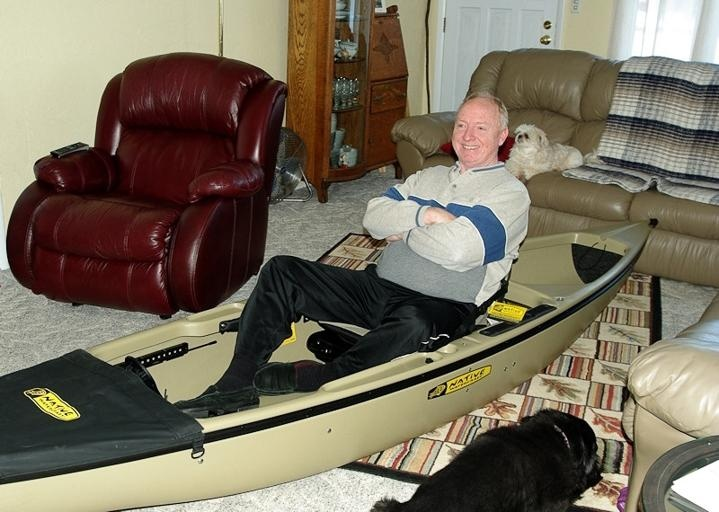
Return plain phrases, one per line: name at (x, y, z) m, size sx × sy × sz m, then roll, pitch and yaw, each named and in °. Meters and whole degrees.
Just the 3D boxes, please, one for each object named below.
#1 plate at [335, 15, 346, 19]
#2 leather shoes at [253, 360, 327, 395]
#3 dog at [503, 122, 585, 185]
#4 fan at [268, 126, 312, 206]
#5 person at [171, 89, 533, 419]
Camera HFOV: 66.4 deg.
plate at (-0.154, -1.965, 4.530) m, size 0.026 × 0.036 × 0.122 m, roll 13°, pitch 25°, yaw 21°
leather shoes at (-0.258, 0.432, 1.945) m, size 0.272 × 0.085 × 0.086 m, roll -4°, pitch -10°, yaw -12°
dog at (1.245, -0.756, 3.937) m, size 0.666 × 0.345 × 0.412 m, roll -7°, pitch 13°, yaw -26°
fan at (-0.517, -0.764, 4.633) m, size 0.523 × 0.548 × 0.289 m, roll -2°, pitch 5°, yaw 25°
person at (0.025, -0.008, 2.157) m, size 1.600 × 1.071 × 0.784 m, roll -13°, pitch 25°, yaw -30°
